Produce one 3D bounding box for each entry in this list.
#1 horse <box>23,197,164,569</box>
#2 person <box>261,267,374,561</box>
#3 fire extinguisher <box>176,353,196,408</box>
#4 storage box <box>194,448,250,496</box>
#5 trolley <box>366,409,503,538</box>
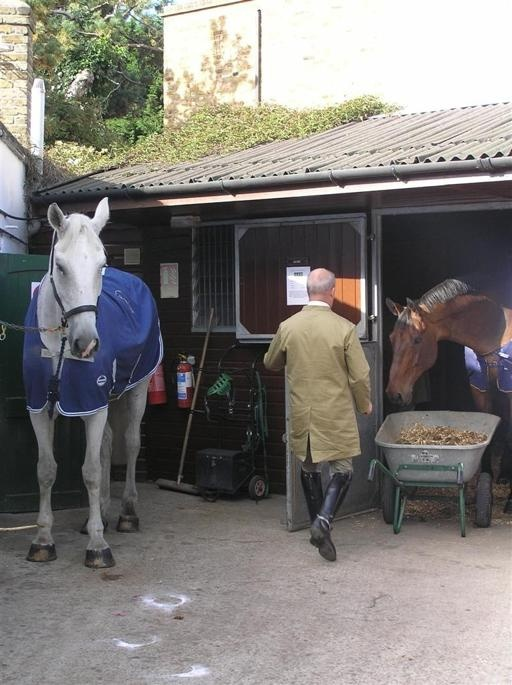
[{"bbox_3d":[-1.192,0.364,5.773,1.004,2.134,2.957,-2,-1,-4],"label":"horse"},{"bbox_3d":[0.444,0.454,5.244,0.537,1.867,0.668,-1,1,-25],"label":"person"},{"bbox_3d":[-0.693,0.395,7.991,0.177,0.538,0.194,-1,1,-4],"label":"fire extinguisher"},{"bbox_3d":[-0.290,1.176,7.407,0.428,0.310,0.386,-1,0,33],"label":"storage box"},{"bbox_3d":[1.331,0.942,6.194,0.750,0.503,1.226,2,11,16],"label":"trolley"}]
